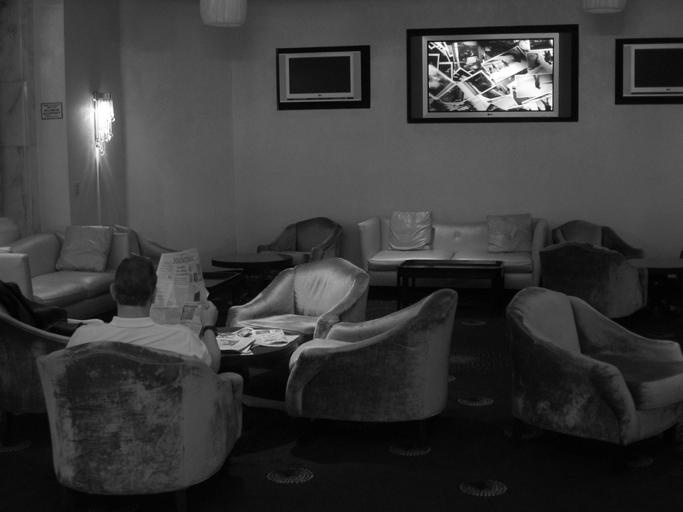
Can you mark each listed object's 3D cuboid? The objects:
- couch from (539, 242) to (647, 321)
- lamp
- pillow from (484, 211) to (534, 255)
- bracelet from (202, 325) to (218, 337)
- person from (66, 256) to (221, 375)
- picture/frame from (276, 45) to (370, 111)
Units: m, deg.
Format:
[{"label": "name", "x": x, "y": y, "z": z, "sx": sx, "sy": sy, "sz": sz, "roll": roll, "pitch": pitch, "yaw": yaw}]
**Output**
[{"label": "couch", "x": 2.450, "y": 0.157, "z": 5.687, "sx": 0.826, "sy": 0.800, "sz": 0.803, "roll": -12, "pitch": 15, "yaw": -40}, {"label": "lamp", "x": -3.026, "y": -1.222, "z": 7.282, "sx": 0.108, "sy": 1.646, "sz": 0.331, "roll": 8, "pitch": 12, "yaw": 42}, {"label": "pillow", "x": 2.264, "y": -0.292, "z": 7.782, "sx": 0.533, "sy": 0.550, "sz": 0.219, "roll": 3, "pitch": -13, "yaw": 8}, {"label": "bracelet", "x": -0.755, "y": 0.411, "z": 3.267, "sx": 0.075, "sy": 0.047, "sz": 0.103, "roll": 0, "pitch": 1, "yaw": -1}, {"label": "person", "x": -1.195, "y": 0.342, "z": 3.381, "sx": 0.762, "sy": 0.696, "sz": 0.456, "roll": 2, "pitch": 13, "yaw": -4}, {"label": "picture/frame", "x": -0.217, "y": -2.647, "z": 8.528, "sx": 0.965, "sy": 0.682, "sz": 0.069, "roll": 0, "pitch": 2, "yaw": 10}]
